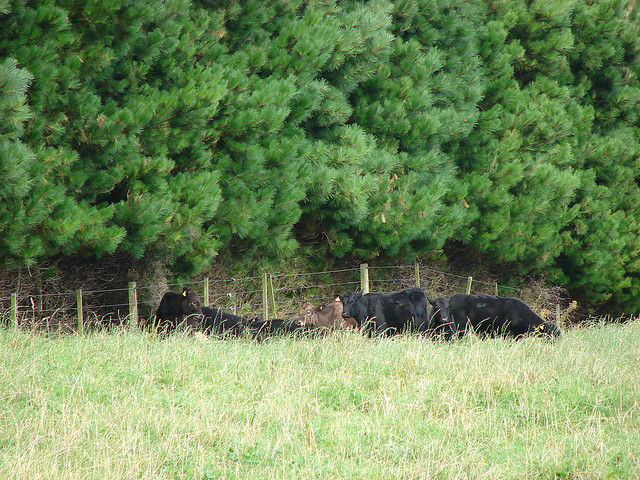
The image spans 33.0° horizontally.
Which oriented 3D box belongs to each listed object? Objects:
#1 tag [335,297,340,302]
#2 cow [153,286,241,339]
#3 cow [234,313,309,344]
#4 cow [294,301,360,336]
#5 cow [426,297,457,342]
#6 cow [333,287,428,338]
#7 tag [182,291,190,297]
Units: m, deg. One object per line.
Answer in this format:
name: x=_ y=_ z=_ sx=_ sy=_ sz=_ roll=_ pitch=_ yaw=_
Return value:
tag: x=0.341 y=1.202 z=22.080 sx=0.072 sy=0.075 sz=0.020 roll=13 pitch=7 yaw=30
cow: x=-2.797 y=1.513 z=21.820 sx=0.500 sy=1.025 sz=1.760 roll=-11 pitch=6 yaw=-34
cow: x=-1.025 y=1.740 z=21.307 sx=1.557 sy=0.359 sz=1.213 roll=8 pitch=9 yaw=22
cow: x=0.142 y=1.572 z=22.001 sx=1.475 sy=0.873 sz=0.535 roll=1 pitch=-5 yaw=-12
cow: x=2.505 y=1.444 z=22.101 sx=0.394 sy=0.778 sz=1.384 roll=-7 pitch=11 yaw=6
cow: x=1.344 y=1.339 z=21.927 sx=2.147 sy=1.271 sz=0.806 roll=5 pitch=-22 yaw=-17
tag: x=-2.682 y=1.057 z=21.555 sx=0.101 sy=0.106 sz=0.026 roll=-2 pitch=-2 yaw=4
